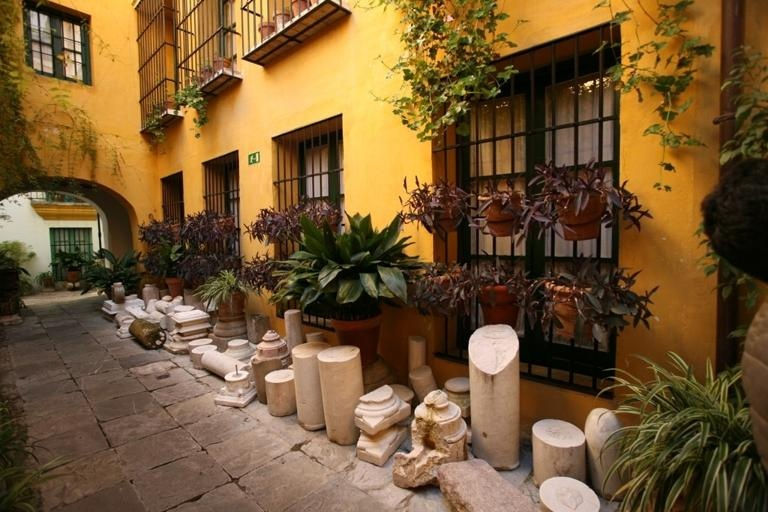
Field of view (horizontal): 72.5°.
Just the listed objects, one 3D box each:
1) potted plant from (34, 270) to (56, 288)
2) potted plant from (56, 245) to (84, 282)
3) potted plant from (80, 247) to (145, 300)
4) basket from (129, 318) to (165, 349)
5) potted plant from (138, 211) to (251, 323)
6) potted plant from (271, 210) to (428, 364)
[{"bbox_3d":[-9.185,0.641,14.198,0.367,0.358,0.371,1,-11,-2],"label":"potted plant"},{"bbox_3d":[-8.731,0.268,14.768,0.817,0.880,0.816,-8,-20,39],"label":"potted plant"},{"bbox_3d":[-5.602,0.304,10.778,1.380,1.238,1.374,-1,0,-38],"label":"potted plant"},{"bbox_3d":[-3.605,1.191,7.989,0.676,0.374,0.342,-1,4,39],"label":"basket"},{"bbox_3d":[-3.120,-0.012,8.658,1.043,1.447,2.740,-5,4,-36],"label":"potted plant"},{"bbox_3d":[-0.438,0.222,6.191,1.671,1.472,1.677,0,0,-26],"label":"potted plant"}]
